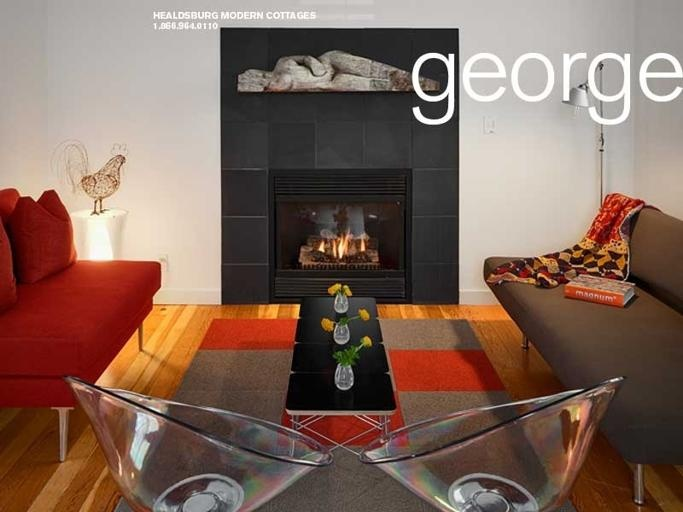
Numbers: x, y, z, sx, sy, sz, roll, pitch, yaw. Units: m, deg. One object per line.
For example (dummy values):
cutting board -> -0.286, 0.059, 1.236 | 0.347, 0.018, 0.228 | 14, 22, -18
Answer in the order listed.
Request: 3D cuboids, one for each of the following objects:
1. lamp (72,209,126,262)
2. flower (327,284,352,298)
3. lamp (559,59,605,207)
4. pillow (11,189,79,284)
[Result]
lamp -> -1.988, -0.154, 4.098 | 0.417, 0.489, 0.424 | 1, 20, -24
flower -> -0.012, 0.223, 3.160 | 0.132, 0.068, 0.148 | -2, -24, 17
lamp -> 1.990, -1.006, 4.002 | 0.292, 1.171, 0.742 | 6, 11, 33
pillow -> -1.876, -0.110, 3.109 | 0.232, 0.555, 0.602 | -9, 6, 6
